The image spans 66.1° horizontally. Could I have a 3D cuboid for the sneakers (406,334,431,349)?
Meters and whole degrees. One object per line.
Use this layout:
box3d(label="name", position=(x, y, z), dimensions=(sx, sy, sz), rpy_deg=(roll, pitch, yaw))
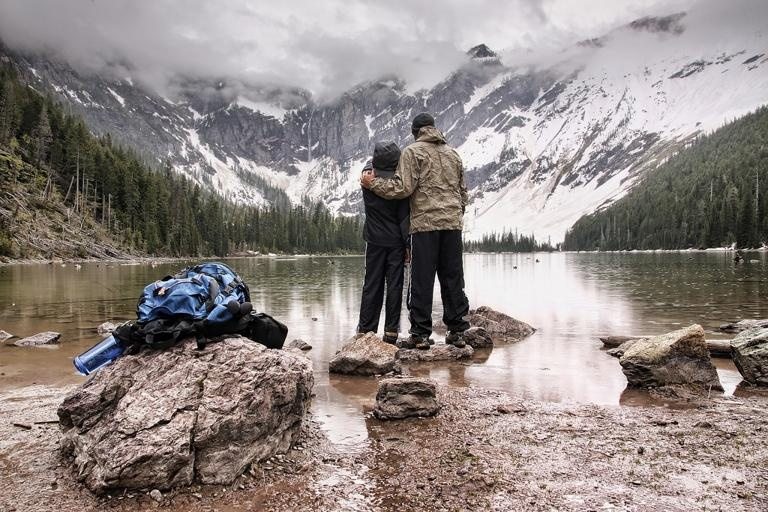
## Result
box3d(label="sneakers", position=(0.548, 1.718, 11.906), dimensions=(0.219, 0.254, 0.537), rpy_deg=(1, -1, -36))

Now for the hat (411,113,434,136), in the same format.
box3d(label="hat", position=(0.639, -2.735, 12.211), dimensions=(0.414, 0.483, 0.502), rpy_deg=(4, -6, -1))

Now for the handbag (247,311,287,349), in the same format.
box3d(label="handbag", position=(-1.856, 1.128, 8.868), dimensions=(0.534, 0.540, 0.525), rpy_deg=(-3, -14, -5))

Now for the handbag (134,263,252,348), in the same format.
box3d(label="handbag", position=(-2.653, 0.678, 8.186), dimensions=(1.066, 0.634, 1.386), rpy_deg=(1, 12, 11))
